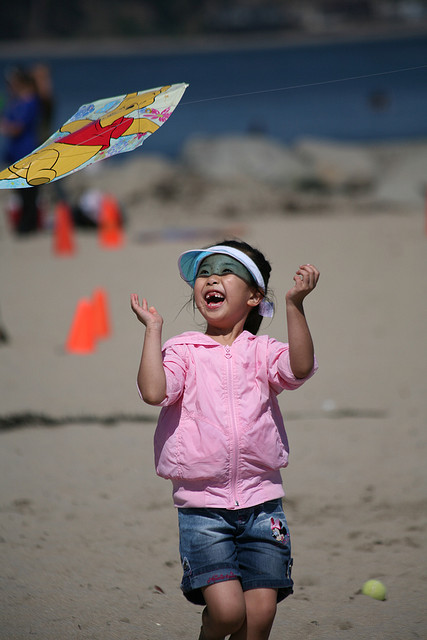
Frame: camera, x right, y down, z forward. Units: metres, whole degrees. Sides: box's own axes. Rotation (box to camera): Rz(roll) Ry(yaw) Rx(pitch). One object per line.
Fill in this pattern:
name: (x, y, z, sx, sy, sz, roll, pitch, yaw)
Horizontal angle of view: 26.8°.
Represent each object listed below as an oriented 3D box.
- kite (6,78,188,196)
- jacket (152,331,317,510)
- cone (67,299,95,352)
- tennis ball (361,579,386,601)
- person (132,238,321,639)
kite: (-0.359, -0.561, 2.656, 0.595, 0.199, 0.255, -18, 34, -20)
jacket: (-0.029, 0.255, 2.203, 0.423, 0.405, 0.426, 0, 76, -8)
cone: (-0.491, 0.020, 3.400, 0.070, 0.175, 0.104, -15, 21, -35)
tennis ball: (0.452, 0.729, 2.441, 0.067, 0.027, 0.063, -4, 32, 2)
person: (0.075, 0.336, 2.287, 0.445, 0.971, 0.858, -8, 33, -2)
